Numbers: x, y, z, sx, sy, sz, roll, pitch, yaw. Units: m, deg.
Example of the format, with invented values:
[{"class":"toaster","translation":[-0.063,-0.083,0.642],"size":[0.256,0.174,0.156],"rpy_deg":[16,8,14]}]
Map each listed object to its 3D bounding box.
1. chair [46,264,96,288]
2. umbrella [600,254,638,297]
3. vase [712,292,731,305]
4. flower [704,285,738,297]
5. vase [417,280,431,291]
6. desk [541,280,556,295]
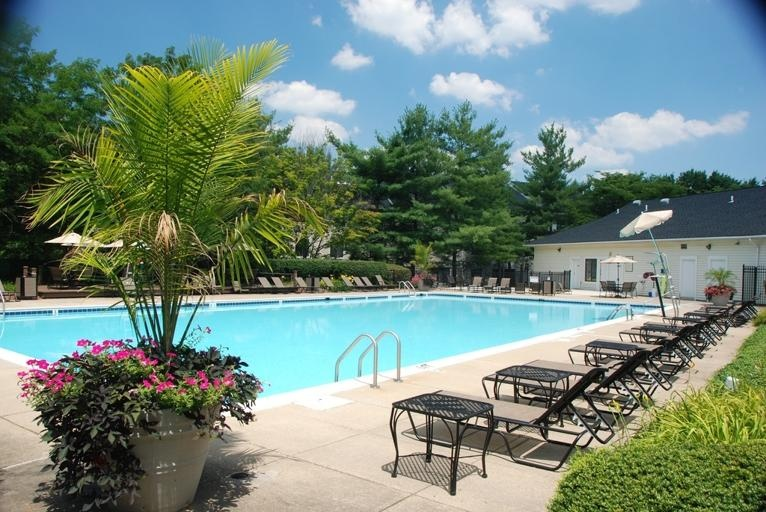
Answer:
[{"class":"chair","translation":[-9.535,0.652,15.335],"size":[1.571,0.855,0.989],"rpy_deg":[-10,-11,42]},{"class":"umbrella","translation":[14.107,1.228,30.082],"size":[2.571,2.721,2.500],"rpy_deg":[-4,6,-41]},{"class":"vase","translation":[15.189,1.891,22.604],"size":[0.470,0.371,0.505],"rpy_deg":[0,-6,4]},{"class":"flower","translation":[15.622,1.609,23.545],"size":[0.967,0.495,0.953],"rpy_deg":[1,-3,-7]},{"class":"vase","translation":[2.814,1.851,32.198],"size":[1.290,0.611,0.784],"rpy_deg":[1,-3,-32]},{"class":"desk","translation":[9.350,1.765,28.276],"size":[0.715,0.891,0.955],"rpy_deg":[1,-2,5]}]
